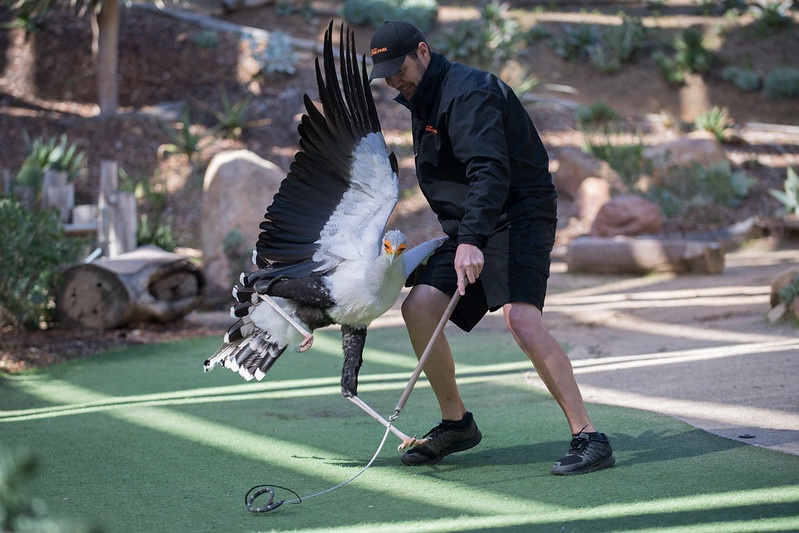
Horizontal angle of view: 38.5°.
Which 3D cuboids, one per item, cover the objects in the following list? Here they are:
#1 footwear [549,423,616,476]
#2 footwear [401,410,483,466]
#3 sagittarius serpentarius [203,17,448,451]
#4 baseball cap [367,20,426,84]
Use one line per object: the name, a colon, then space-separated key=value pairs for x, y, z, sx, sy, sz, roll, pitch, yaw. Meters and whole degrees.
footwear: x=1.644 y=1.653 z=10.294 sx=0.759 sy=0.343 sz=0.303 roll=-10 pitch=7 yaw=-42
footwear: x=0.416 y=1.543 z=10.641 sx=0.922 sy=0.338 sz=0.310 roll=-21 pitch=18 yaw=-10
sagittarius serpentarius: x=-0.698 y=-0.571 z=10.338 sx=1.720 sy=3.144 sz=0.428 roll=-3 pitch=3 yaw=8
baseball cap: x=-0.024 y=-1.938 z=10.270 sx=0.551 sy=0.526 sz=0.225 roll=-4 pitch=3 yaw=-15
